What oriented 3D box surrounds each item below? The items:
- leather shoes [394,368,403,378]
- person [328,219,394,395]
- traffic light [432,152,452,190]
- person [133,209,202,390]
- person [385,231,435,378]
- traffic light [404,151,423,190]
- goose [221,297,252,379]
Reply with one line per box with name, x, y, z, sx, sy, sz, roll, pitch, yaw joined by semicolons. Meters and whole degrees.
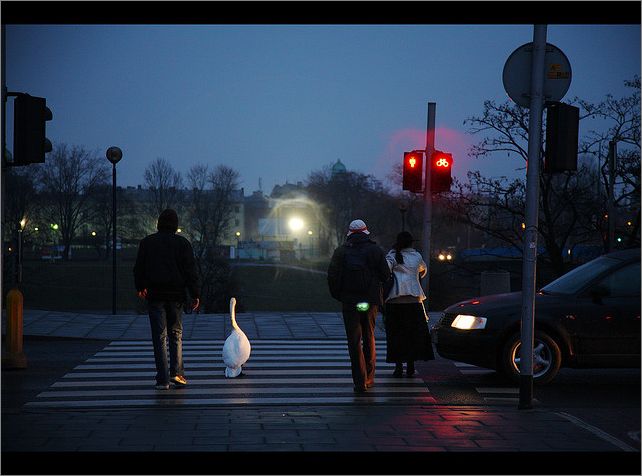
leather shoes;1.160;2.081;11.509;0.137;0.140;0.104;5;-10;-9
person;0.577;0.954;10.757;0.919;2.355;1.026;-2;-3;23
traffic light;2.541;-1.428;16.106;0.416;0.879;0.392;0;2;5
person;-2.114;0.850;10.522;0.930;2.464;0.758;1;-4;6
person;1.253;1.007;11.654;0.833;2.124;0.868;3;4;-5
traffic light;1.937;-1.415;16.084;0.395;0.876;0.515;0;2;4
goose;-1.315;1.537;11.479;0.445;1.191;0.819;-3;11;5
